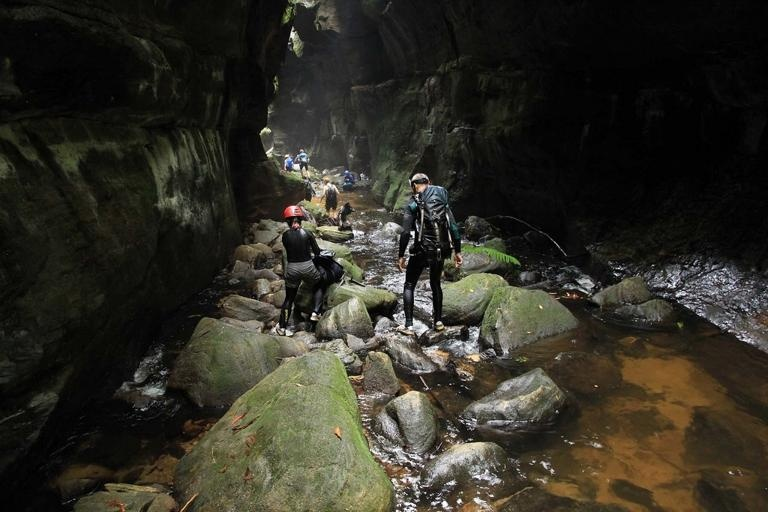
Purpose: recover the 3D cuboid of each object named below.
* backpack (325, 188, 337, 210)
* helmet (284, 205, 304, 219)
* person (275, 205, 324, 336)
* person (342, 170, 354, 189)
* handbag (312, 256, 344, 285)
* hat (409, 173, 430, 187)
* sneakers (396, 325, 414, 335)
[{"bbox_3d":[-1.963,-2.075,16.603,0.379,0.943,0.601,-2,18,-15],"label":"backpack"},{"bbox_3d":[-1.726,-0.813,8.521,0.457,0.281,0.625,-3,7,-15],"label":"helmet"},{"bbox_3d":[-1.521,0.216,8.219,0.885,2.106,1.157,0,18,-8],"label":"person"},{"bbox_3d":[-1.816,-3.924,23.413,0.598,0.945,1.479,1,17,-5],"label":"person"},{"bbox_3d":[-1.100,0.297,8.565,0.304,0.543,0.395,-34,-4,22],"label":"handbag"},{"bbox_3d":[0.622,-1.308,7.809,0.338,0.338,0.423,2,14,11],"label":"hat"},{"bbox_3d":[0.376,1.311,7.815,0.268,0.115,0.123,10,13,19],"label":"sneakers"}]
